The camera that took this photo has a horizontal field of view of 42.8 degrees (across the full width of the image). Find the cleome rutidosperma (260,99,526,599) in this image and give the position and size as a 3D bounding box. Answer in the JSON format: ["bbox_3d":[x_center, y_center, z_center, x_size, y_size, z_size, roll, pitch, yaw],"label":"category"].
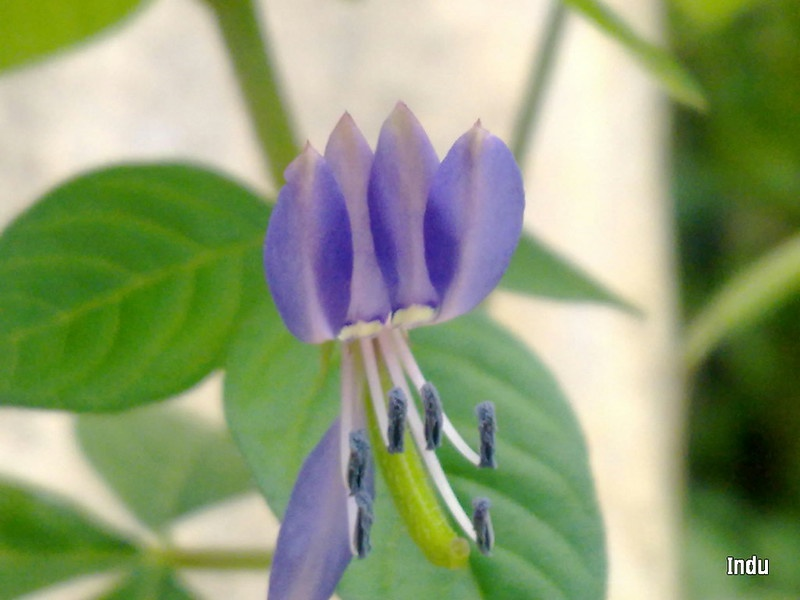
[{"bbox_3d":[-0.017,0.091,1.276,0.306,0.486,0.416,6,44,5],"label":"cleome rutidosperma"}]
